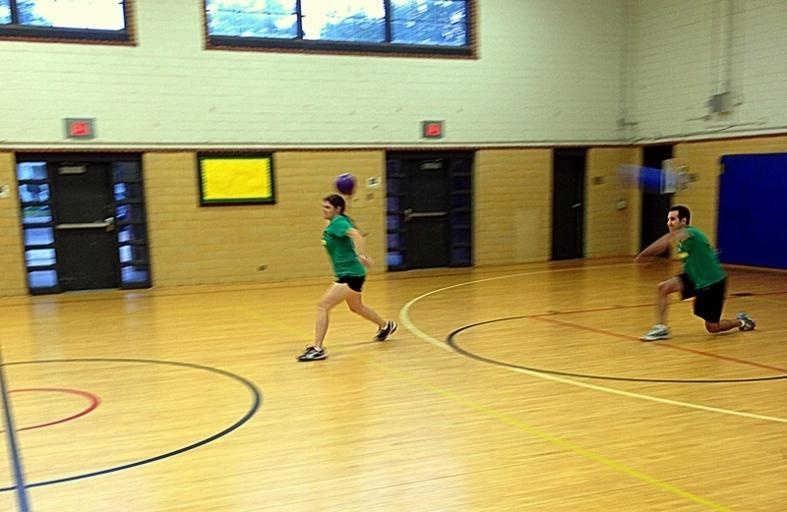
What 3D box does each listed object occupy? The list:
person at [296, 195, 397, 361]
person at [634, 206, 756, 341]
[{"bbox_3d":[-0.667,0.257,7.698,1.237,2.091,1.272,-5,13,-1],"label":"person"},{"bbox_3d":[3.935,0.234,8.043,1.819,1.813,0.528,-10,15,-29],"label":"person"}]
